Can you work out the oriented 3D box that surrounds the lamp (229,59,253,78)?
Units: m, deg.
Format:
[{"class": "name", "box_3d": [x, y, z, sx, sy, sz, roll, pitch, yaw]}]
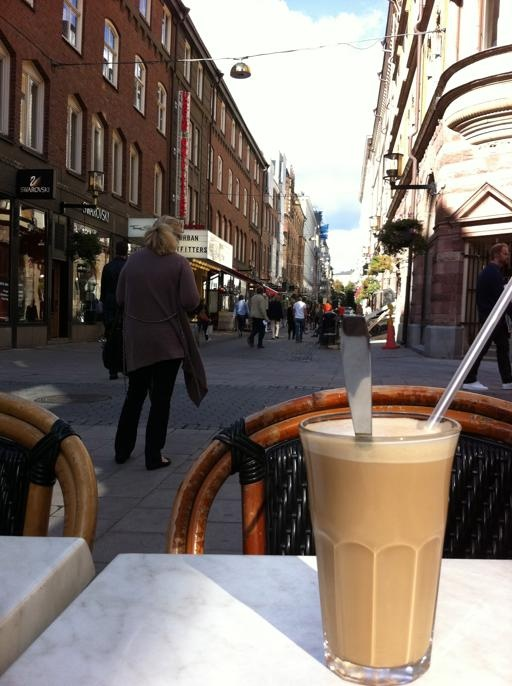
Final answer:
[{"class": "lamp", "box_3d": [-0.391, -6.693, 14.501, 0.469, 0.501, 0.844, 1, 7, 8]}]

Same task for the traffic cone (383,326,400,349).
[{"class": "traffic cone", "box_3d": [4.917, -0.220, 21.079, 0.546, 1.098, 0.585, -7, 7, -38]}]
